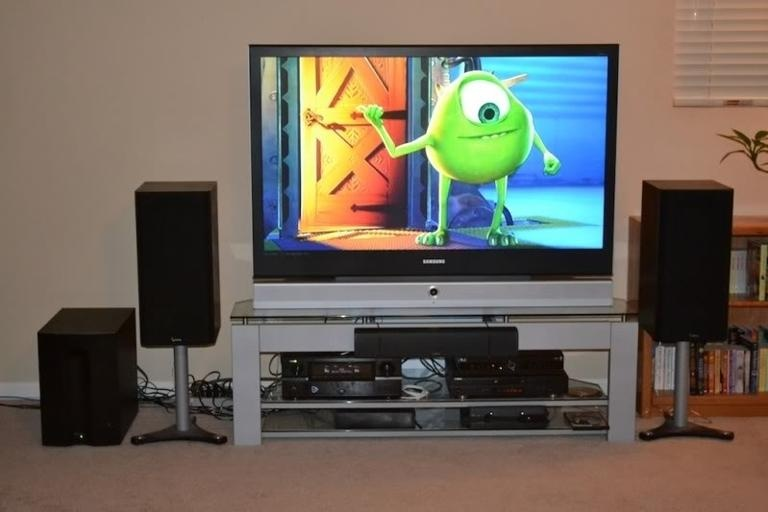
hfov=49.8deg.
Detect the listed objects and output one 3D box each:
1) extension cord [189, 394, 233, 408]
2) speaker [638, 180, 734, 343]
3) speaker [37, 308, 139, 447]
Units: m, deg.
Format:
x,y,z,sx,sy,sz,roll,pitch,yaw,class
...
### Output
x,y,z,sx,sy,sz,roll,pitch,yaw,class
-1.090,0.912,5.174,0.254,0.067,0.051,0,2,-2,extension cord
1.697,0.032,4.698,0.486,0.917,0.216,1,2,14,speaker
-1.684,0.652,4.832,0.540,0.816,0.738,3,31,-6,speaker
